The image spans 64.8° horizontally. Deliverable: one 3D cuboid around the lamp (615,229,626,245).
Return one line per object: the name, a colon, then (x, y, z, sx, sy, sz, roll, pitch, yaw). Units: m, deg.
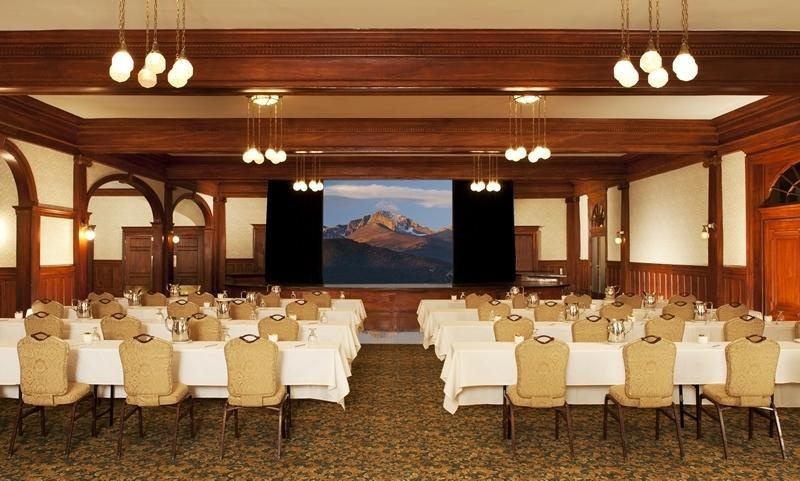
lamp: (6.290, -0.109, 17.981, 0.230, 0.446, 0.588, 0, -4, 6)

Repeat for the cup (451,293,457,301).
cup: (1.215, 1.267, 14.039, 0.137, 0.138, 0.147, 1, 3, 0)

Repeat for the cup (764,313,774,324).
cup: (6.941, 1.470, 11.852, 0.209, 0.180, 0.206, 0, 7, 0)
